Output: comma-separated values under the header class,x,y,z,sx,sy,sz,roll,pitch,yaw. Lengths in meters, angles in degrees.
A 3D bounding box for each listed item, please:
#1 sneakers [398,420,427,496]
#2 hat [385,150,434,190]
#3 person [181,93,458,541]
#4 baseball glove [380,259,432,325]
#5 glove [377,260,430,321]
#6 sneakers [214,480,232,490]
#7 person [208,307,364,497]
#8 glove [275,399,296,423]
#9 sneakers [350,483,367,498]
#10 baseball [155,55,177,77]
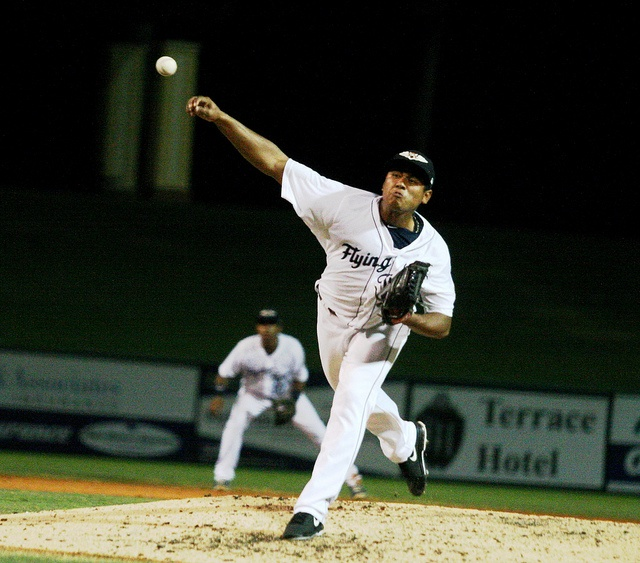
class,x,y,z,sx,sy,sz,roll,pitch,yaw
sneakers,0.575,1.046,6.614,0.214,0.420,0.149,-14,17,-39
hat,0.483,-0.596,6.117,0.256,0.195,0.194,3,8,1
person,0.136,0.246,6.102,1.308,2.163,0.910,2,8,-7
baseball glove,0.420,0.054,5.826,0.097,0.339,0.220,2,39,-47
glove,0.420,0.056,5.827,0.094,0.336,0.202,-6,48,-48
sneakers,-0.621,1.290,7.172,0.047,0.048,0.119,3,4,-12
person,-0.212,0.797,6.972,1.187,1.165,0.682,-4,-26,6
glove,-0.218,0.841,7.370,0.123,0.144,0.133,22,-45,-17
sneakers,0.238,1.311,7.118,0.092,0.114,0.089,-11,-5,24
baseball,-0.902,-1.258,6.632,0.104,0.110,0.216,2,7,-8
